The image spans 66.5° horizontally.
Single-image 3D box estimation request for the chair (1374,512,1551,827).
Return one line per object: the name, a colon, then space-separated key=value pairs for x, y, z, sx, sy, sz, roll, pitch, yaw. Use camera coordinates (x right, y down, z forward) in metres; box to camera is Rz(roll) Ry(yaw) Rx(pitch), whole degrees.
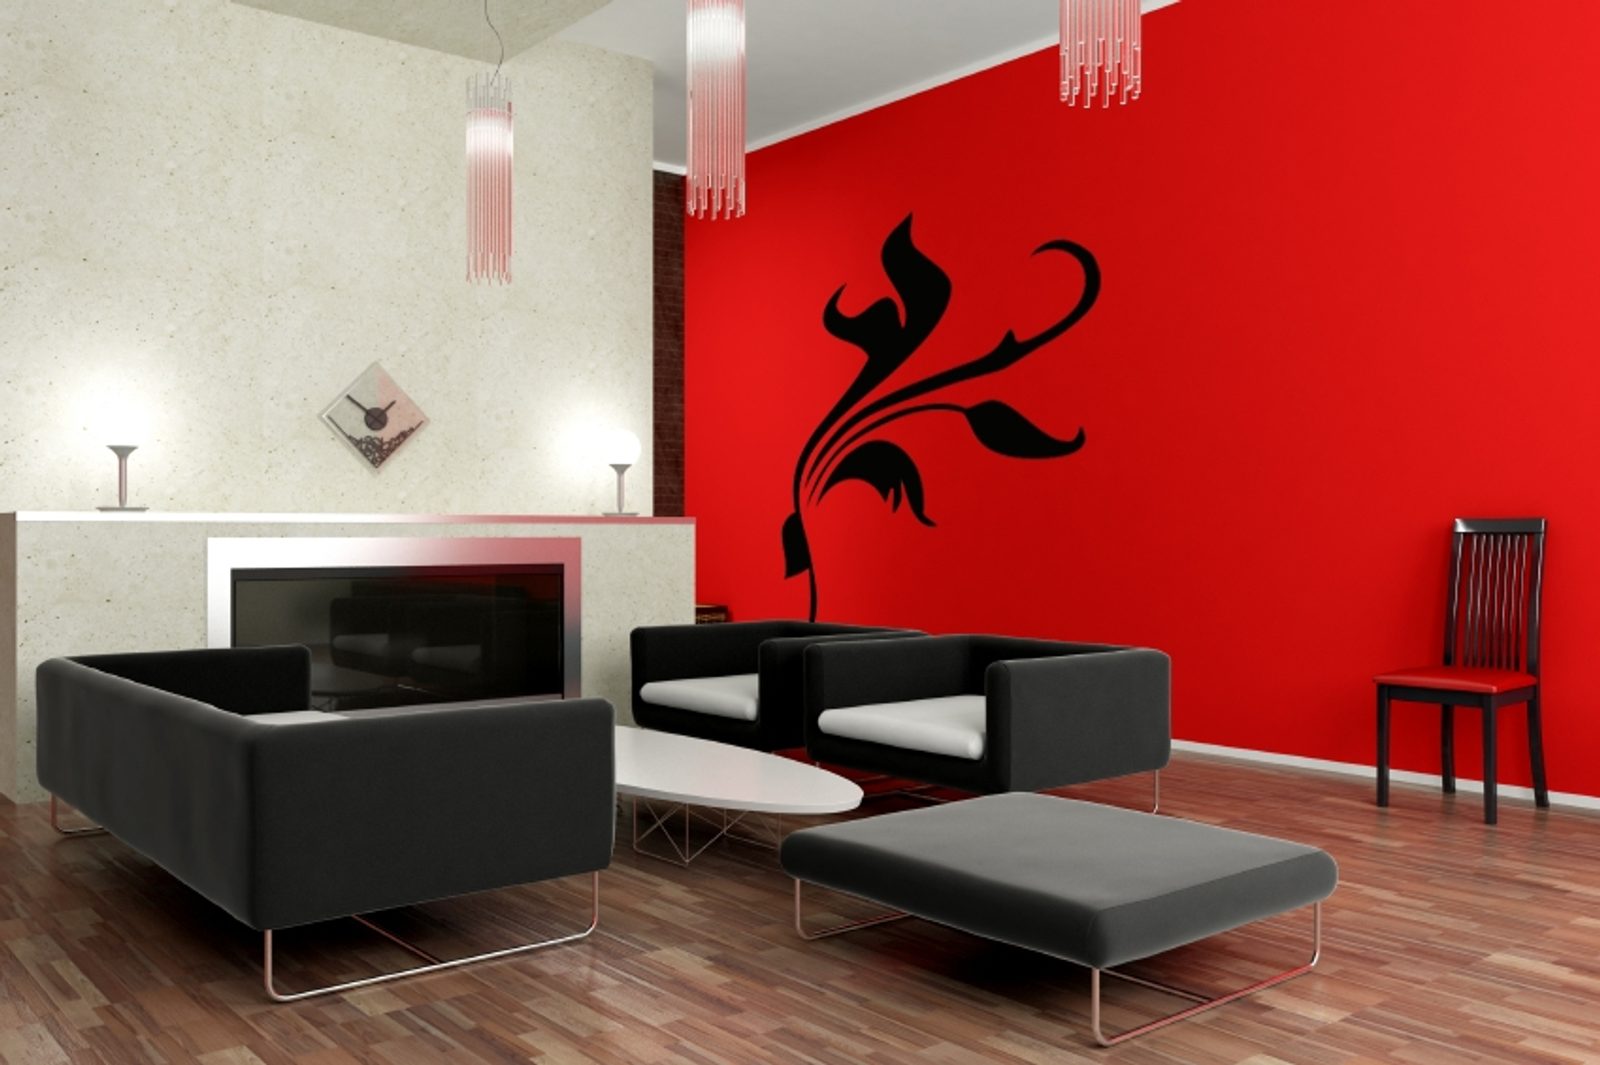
chair: x=3.235 y=0.637 z=5.940 sx=0.722 sy=1.430 sz=0.727 roll=6 pitch=9 yaw=38
